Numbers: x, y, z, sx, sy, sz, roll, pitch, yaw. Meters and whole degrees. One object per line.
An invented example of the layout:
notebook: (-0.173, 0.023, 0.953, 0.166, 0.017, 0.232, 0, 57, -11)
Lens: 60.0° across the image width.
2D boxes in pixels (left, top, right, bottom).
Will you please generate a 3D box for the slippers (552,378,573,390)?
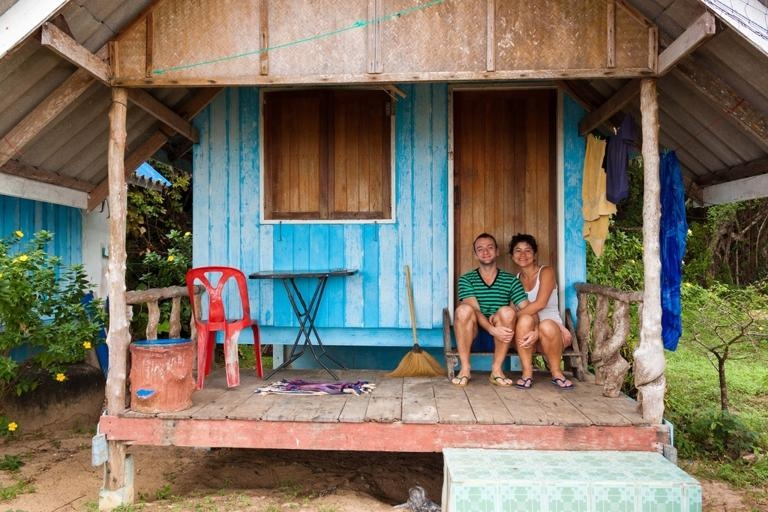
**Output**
slippers: (2.050, 1.453, 7.647, 0.245, 0.121, 0.211, -4, -4, 17)

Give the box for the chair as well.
chair: (-1.949, 0.797, 8.022, 1.127, 2.122, 1.247, -1, -2, -14)

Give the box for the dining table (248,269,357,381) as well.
dining table: (-1.025, 0.890, 8.293, 1.289, 1.345, 1.349, 0, -1, 2)

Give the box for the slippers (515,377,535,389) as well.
slippers: (1.573, 1.443, 7.586, 0.185, 0.127, 0.102, -4, -4, 16)

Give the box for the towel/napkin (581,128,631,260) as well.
towel/napkin: (2.574, -0.749, 8.024, 0.200, 1.486, 0.455, -1, -4, -16)

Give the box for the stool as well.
stool: (-2.356, 1.228, 7.116, 0.692, 0.704, 0.700, 1, -3, -27)

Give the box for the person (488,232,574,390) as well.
person: (1.737, 0.621, 7.836, 0.796, 1.704, 0.577, 0, 0, -35)

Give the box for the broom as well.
broom: (0.492, 0.918, 8.411, 0.693, 1.575, 0.521, -1, -3, 7)

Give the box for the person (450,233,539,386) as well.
person: (1.025, 0.678, 8.404, 1.085, 2.233, 1.570, 2, -9, 8)
